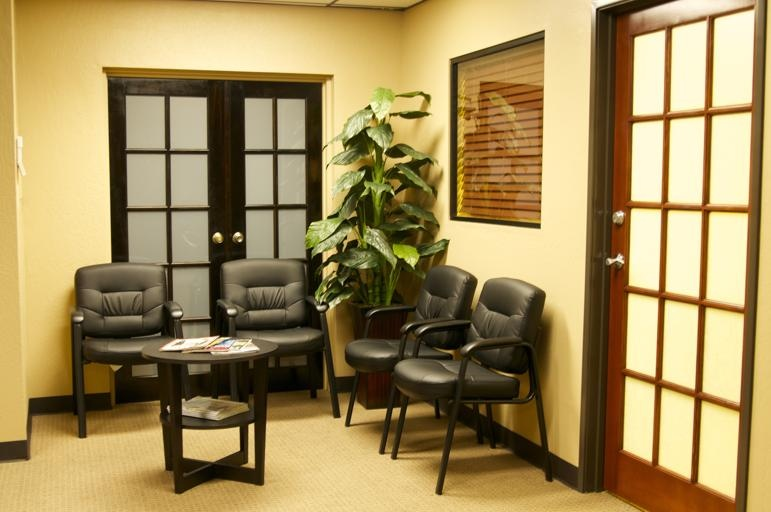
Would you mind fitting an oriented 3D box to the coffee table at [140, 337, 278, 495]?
[{"bbox_3d":[-1.148,1.057,3.841,0.890,0.885,0.918,-1,-2,18],"label":"coffee table"}]

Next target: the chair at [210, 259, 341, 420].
[{"bbox_3d":[-0.964,0.677,4.849,1.081,1.263,1.082,-1,2,6],"label":"chair"}]

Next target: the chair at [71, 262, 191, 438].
[{"bbox_3d":[-2.104,0.705,4.643,0.879,1.189,0.801,-1,8,-42],"label":"chair"}]

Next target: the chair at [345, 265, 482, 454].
[{"bbox_3d":[0.152,0.720,4.457,0.947,1.220,0.797,-1,3,-24],"label":"chair"}]

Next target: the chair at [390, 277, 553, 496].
[{"bbox_3d":[0.583,0.813,3.866,1.006,1.277,0.673,-2,9,-13],"label":"chair"}]

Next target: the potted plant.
[{"bbox_3d":[-0.050,-0.180,5.043,1.148,2.086,1.043,-7,-9,20],"label":"potted plant"}]
